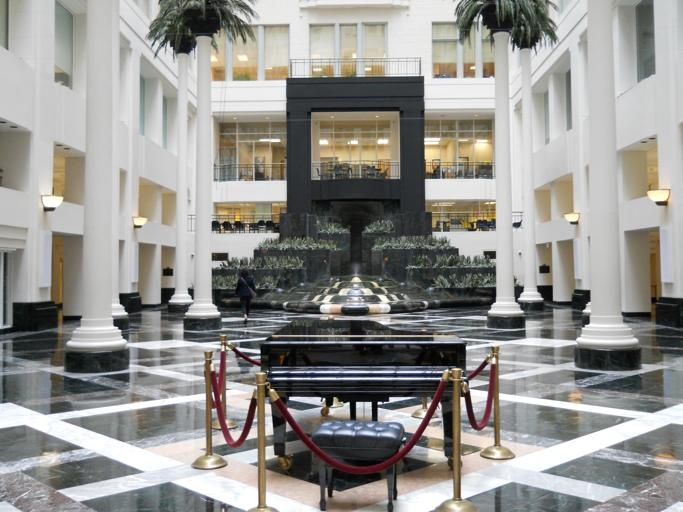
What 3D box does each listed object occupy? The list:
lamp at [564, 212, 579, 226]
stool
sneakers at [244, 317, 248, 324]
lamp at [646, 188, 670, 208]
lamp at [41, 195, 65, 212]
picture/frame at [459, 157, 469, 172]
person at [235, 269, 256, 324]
[{"bbox_3d":[8.513,-1.411,24.026,0.488,0.371,0.462,0,-4,3],"label":"lamp"},{"bbox_3d":[0.219,2.273,7.239,0.993,0.853,0.831,0,-12,4],"label":"stool"},{"bbox_3d":[-2.737,1.824,18.518,0.085,0.142,0.209,-12,8,1],"label":"sneakers"},{"bbox_3d":[8.624,-1.628,17.708,0.540,0.428,0.460,-4,-14,38],"label":"lamp"},{"bbox_3d":[-8.149,-1.511,18.327,0.583,0.502,0.478,1,-6,-29],"label":"lamp"},{"bbox_3d":[6.931,-5.192,36.928,0.515,1.239,1.455,-1,-4,10],"label":"picture/frame"},{"bbox_3d":[-2.759,1.129,18.707,0.508,1.488,1.452,0,-4,-8],"label":"person"}]
